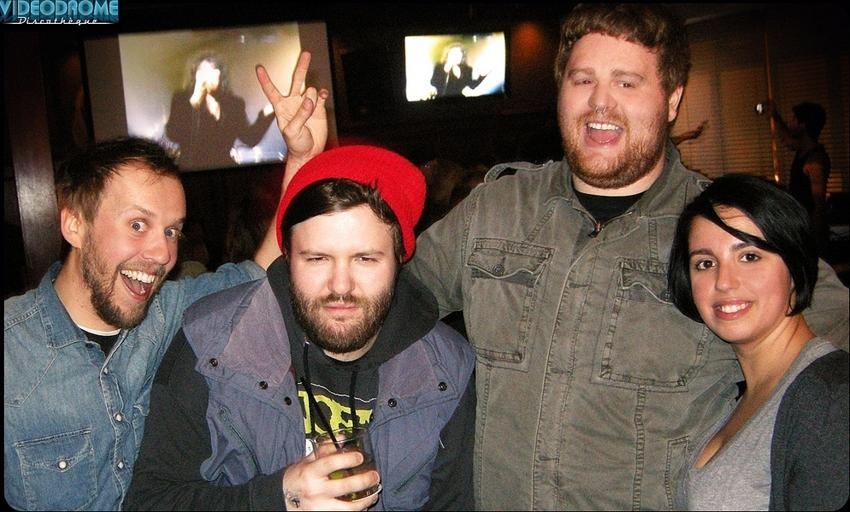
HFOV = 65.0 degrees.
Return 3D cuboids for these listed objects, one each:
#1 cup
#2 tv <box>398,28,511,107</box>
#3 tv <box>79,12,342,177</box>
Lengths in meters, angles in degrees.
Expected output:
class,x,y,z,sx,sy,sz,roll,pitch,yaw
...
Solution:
class,x,y,z,sx,sy,sz,roll,pitch,yaw
cup,-0.517,1.151,3.770,0.483,0.387,0.232,1,6,33
tv,0.277,-1.698,5.952,1.060,0.584,0.012,-17,32,-33
tv,-1.800,-1.401,5.435,2.026,1.044,0.026,-3,14,-7
